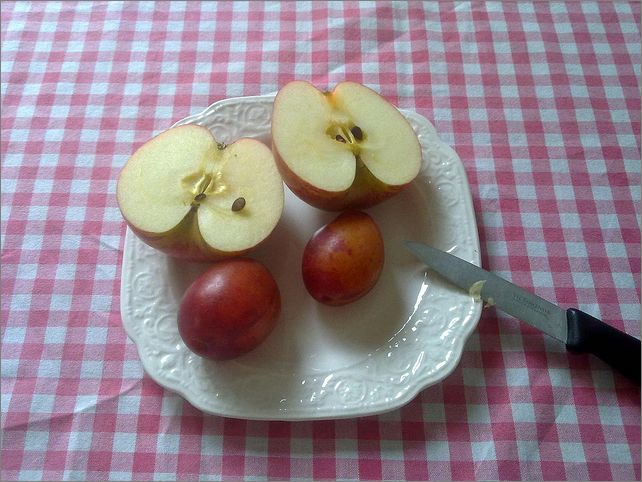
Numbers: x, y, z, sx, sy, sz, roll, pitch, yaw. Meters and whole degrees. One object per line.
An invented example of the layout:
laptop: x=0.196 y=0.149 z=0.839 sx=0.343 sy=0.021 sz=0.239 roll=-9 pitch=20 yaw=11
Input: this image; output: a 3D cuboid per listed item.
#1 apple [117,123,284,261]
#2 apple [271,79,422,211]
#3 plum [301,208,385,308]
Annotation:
apple: x=-0.239 y=-0.102 z=1.340 sx=0.305 sy=0.145 sz=0.282 roll=1 pitch=74 yaw=-5
apple: x=0.055 y=-0.203 z=1.368 sx=0.303 sy=0.108 sz=0.263 roll=-3 pitch=81 yaw=1
plum: x=0.047 y=0.041 z=1.342 sx=0.182 sy=0.112 sz=0.158 roll=-33 pitch=81 yaw=-4
